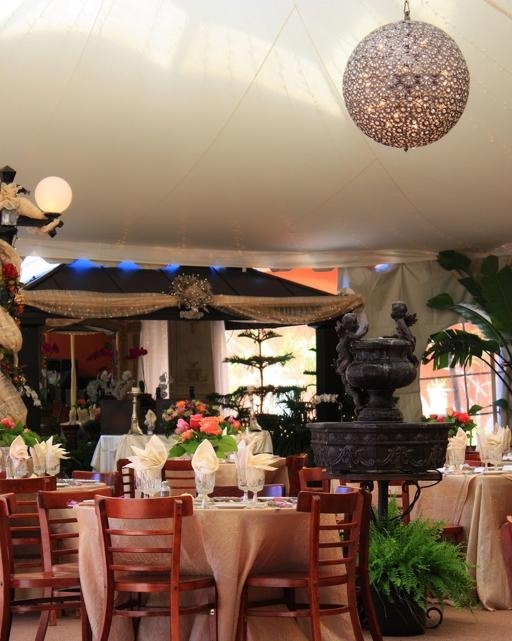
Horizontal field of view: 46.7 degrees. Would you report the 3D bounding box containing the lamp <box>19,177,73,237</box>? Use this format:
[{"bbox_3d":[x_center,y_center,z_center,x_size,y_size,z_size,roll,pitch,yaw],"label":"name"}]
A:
[{"bbox_3d":[-1.433,-0.771,3.982,0.296,0.324,0.714,0,-5,-22],"label":"lamp"}]

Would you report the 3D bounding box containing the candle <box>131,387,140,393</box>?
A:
[{"bbox_3d":[-1.390,0.799,6.820,0.096,0.075,0.094,-1,-3,39],"label":"candle"}]

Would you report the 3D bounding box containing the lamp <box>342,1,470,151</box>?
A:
[{"bbox_3d":[0.776,-1.296,3.131,0.641,0.594,0.436,-3,-5,18],"label":"lamp"}]
